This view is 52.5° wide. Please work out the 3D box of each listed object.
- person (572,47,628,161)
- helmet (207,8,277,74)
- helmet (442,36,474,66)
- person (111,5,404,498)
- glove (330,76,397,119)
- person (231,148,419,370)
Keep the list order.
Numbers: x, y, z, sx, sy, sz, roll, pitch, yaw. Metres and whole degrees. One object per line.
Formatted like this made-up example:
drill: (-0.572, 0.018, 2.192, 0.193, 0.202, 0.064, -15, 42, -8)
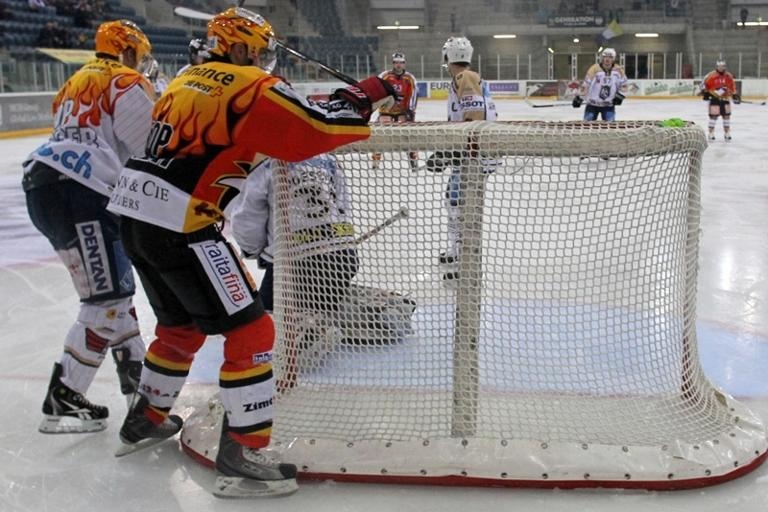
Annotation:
person: (3.371, -2.622, 11.912, 0.651, 1.095, 0.535, 4, 19, 14)
helmet: (-0.616, -0.989, 3.575, 0.323, 0.272, 0.267, -8, 38, -13)
helmet: (0.584, -1.662, 6.240, 0.234, 0.268, 0.285, 2, 19, -2)
person: (-0.693, -0.015, 3.500, 1.214, 2.102, 0.726, -1, 19, -2)
glove: (-0.077, -0.712, 3.411, 0.252, 0.092, 0.176, 4, 45, -4)
person: (-0.322, 0.029, 4.015, 0.749, 1.295, 0.796, -16, 22, -29)
